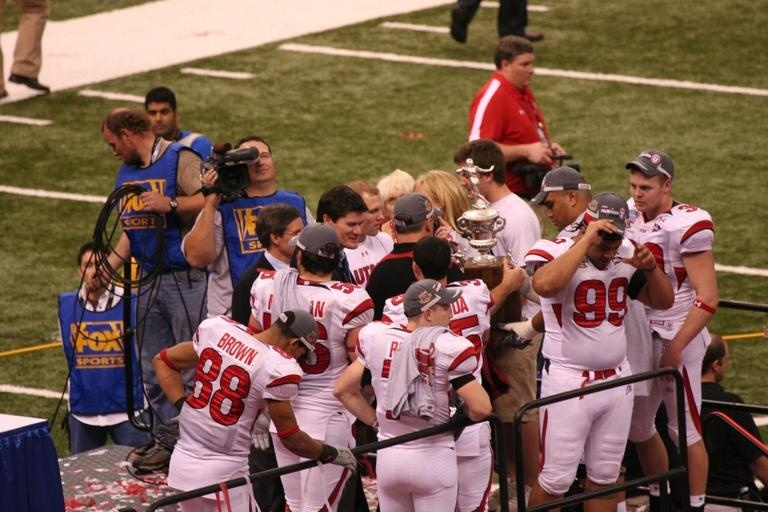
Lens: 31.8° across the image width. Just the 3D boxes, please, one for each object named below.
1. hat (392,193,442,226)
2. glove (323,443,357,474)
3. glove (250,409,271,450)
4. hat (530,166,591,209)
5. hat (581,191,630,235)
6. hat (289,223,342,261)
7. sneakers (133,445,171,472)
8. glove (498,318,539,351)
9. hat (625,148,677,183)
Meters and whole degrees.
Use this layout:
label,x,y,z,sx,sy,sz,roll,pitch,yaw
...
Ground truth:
label,x,y,z,sx,sy,sz,roll,pitch,yaw
hat,0.300,-0.451,13.152,0.269,0.187,0.400,7,17,33
glove,-0.437,1.867,12.448,0.348,0.129,0.187,12,37,-4
glove,-1.229,1.729,13.313,0.173,0.444,0.259,-1,12,-5
hat,1.718,-0.703,13.353,0.549,0.244,0.338,-4,2,5
hat,2.116,-0.414,12.766,0.316,0.229,0.431,3,24,-34
hat,-0.667,-0.148,12.810,0.295,0.211,0.421,-8,26,-41
sneakers,-2.432,2.129,14.202,0.447,0.195,0.193,-7,34,-19
glove,1.319,0.777,13.360,0.282,0.104,0.334,-20,1,-43
hat,2.629,-0.901,13.422,0.432,0.262,0.402,2,11,8
